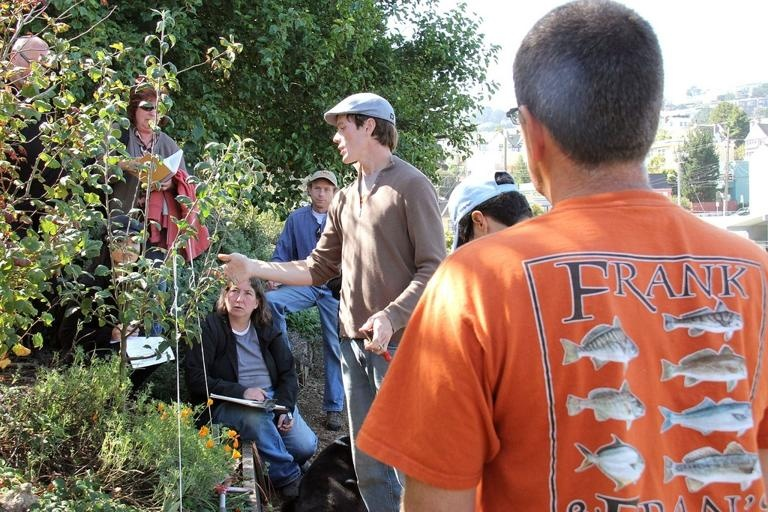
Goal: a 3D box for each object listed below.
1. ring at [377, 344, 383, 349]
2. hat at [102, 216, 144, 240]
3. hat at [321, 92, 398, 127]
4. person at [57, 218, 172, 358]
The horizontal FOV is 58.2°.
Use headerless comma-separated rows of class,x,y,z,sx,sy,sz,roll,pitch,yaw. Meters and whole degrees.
ring,-0.009,0.473,3.606,0.024,0.025,0.016,-5,8,-39
hat,-1.611,-0.176,4.262,0.206,0.104,0.274,-1,-3,3
hat,-0.138,-0.861,4.166,0.318,0.160,0.226,20,7,-3
person,-1.577,0.220,4.003,0.326,0.376,0.880,14,-35,-18
